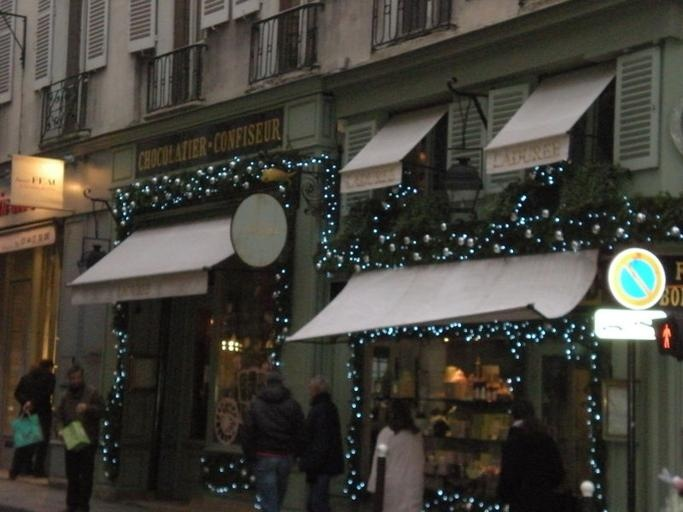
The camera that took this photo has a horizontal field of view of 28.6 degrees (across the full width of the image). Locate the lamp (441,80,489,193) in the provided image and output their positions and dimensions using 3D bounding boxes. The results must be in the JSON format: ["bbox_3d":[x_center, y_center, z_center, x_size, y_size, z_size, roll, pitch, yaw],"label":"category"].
[{"bbox_3d":[1.685,-1.659,18.201,0.586,1.732,0.929,0,-8,9],"label":"lamp"}]

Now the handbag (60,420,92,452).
[{"bbox_3d":[-3.610,2.455,18.295,0.270,0.322,0.175,-33,-27,-8],"label":"handbag"}]

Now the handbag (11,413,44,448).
[{"bbox_3d":[-4.674,2.593,19.973,0.429,0.469,0.372,3,-8,-12],"label":"handbag"}]
